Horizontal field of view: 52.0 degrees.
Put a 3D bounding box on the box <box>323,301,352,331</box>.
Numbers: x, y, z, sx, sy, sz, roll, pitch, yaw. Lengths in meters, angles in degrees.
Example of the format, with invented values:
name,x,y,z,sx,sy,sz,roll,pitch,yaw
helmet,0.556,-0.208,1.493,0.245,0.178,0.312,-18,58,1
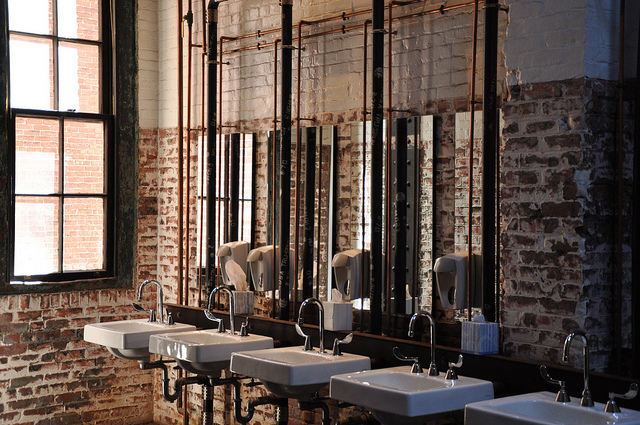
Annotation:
name,x,y,z,sx,sy,sz,roll,pitch,yaw
box,0.141,0.739,4.685,0.261,0.200,0.272,0,-3,23

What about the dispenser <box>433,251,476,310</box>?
name,x,y,z,sx,sy,sz,roll,pitch,yaw
dispenser,0.896,0.446,4.302,0.274,0.384,0.301,0,-4,10

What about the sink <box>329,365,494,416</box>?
name,x,y,z,sx,sy,sz,roll,pitch,yaw
sink,0.535,0.965,3.779,0.660,0.234,0.744,6,-8,-42

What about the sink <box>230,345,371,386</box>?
name,x,y,z,sx,sy,sz,roll,pitch,yaw
sink,-0.130,0.938,4.189,0.679,0.200,0.573,-5,-8,43

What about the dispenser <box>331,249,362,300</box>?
name,x,y,z,sx,sy,sz,roll,pitch,yaw
dispenser,0.201,0.460,4.817,0.204,0.346,0.176,-6,-9,44

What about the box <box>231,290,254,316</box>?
name,x,y,z,sx,sy,sz,roll,pitch,yaw
box,-0.646,0.753,5.347,0.179,0.185,0.136,3,-15,-27

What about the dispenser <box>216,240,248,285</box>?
name,x,y,z,sx,sy,sz,roll,pitch,yaw
dispenser,-0.748,0.405,5.568,0.165,0.392,0.242,0,2,-43

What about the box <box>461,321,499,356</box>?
name,x,y,z,sx,sy,sz,roll,pitch,yaw
box,0.964,0.772,4.001,0.147,0.192,0.196,6,-11,-21

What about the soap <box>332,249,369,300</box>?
name,x,y,z,sx,sy,sz,roll,pitch,yaw
soap,0.217,0.453,4.793,0.126,0.372,0.254,-3,5,-35

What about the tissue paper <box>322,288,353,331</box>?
name,x,y,z,sx,sy,sz,roll,pitch,yaw
tissue paper,0.121,0.698,4.675,0.221,0.280,0.215,-2,1,-37

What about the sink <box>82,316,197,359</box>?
name,x,y,z,sx,sy,sz,roll,pitch,yaw
sink,-1.437,0.955,5.130,0.453,0.210,0.501,2,-3,-43

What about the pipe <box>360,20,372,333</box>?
name,x,y,z,sx,sy,sz,roll,pitch,yaw
pipe,0.306,-0.277,4.738,0.082,2.261,0.143,0,0,24

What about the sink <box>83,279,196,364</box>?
name,x,y,z,sx,sy,sz,roll,pitch,yaw
sink,-1.461,0.910,5.349,0.875,0.718,0.788,5,4,45
